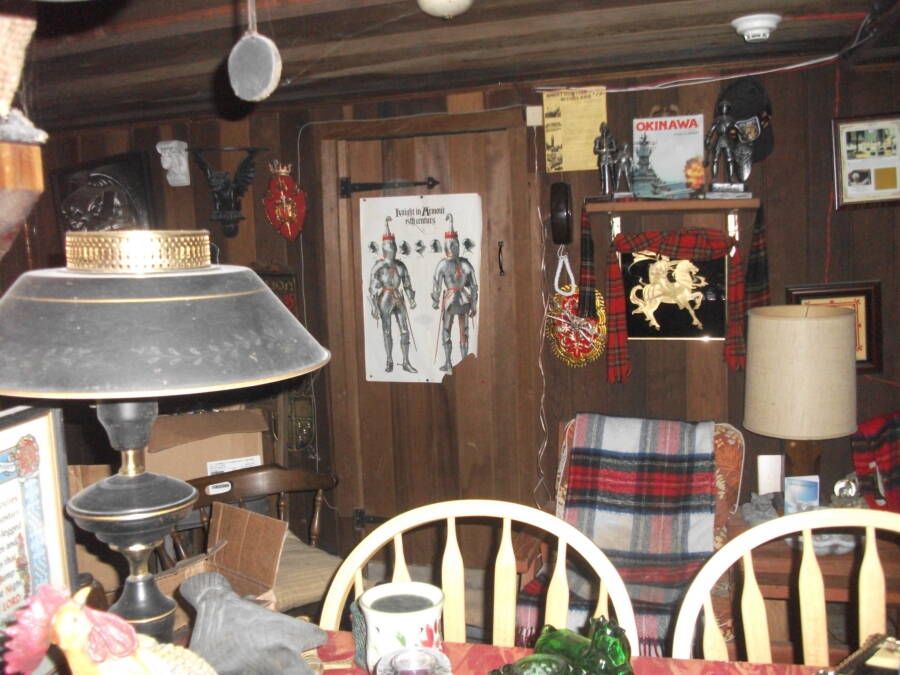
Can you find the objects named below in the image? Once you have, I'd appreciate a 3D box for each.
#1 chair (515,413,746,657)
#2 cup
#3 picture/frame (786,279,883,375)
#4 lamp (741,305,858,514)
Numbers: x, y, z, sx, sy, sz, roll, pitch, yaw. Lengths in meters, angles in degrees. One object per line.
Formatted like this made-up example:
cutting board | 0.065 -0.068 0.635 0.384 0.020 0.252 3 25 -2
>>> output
chair | 0.792 0.687 3.437 0.801 1.016 0.812 1 -5 14
cup | -0.101 0.584 1.800 0.186 0.161 0.176 1 -2 0
picture/frame | 1.480 -0.030 3.207 0.357 0.387 0.030 2 7 11
lamp | 1.292 0.280 3.135 0.366 0.790 0.341 -1 6 0
